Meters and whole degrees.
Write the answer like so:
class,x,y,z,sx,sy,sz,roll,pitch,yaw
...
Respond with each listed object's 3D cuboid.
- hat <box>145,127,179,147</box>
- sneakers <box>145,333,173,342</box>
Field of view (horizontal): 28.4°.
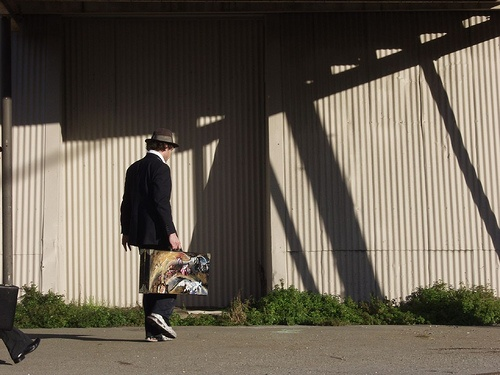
class,x,y,z,sx,sy,sz,roll,pitch,yaw
hat,-1.410,-0.841,16.426,0.426,0.176,0.386,7,0,-42
sneakers,-1.501,2.470,16.322,0.436,0.187,0.155,1,-5,-5
